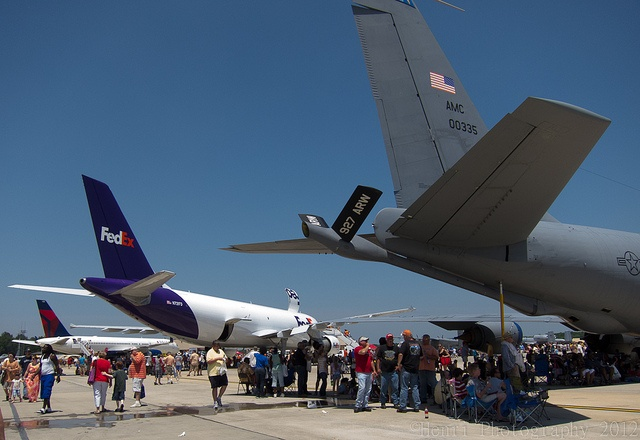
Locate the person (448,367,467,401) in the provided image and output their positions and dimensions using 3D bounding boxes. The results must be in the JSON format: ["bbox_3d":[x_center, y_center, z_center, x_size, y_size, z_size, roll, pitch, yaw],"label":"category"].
[{"bbox_3d":[3.760,4.459,14.448,0.445,0.822,0.438,-1,-14,12],"label":"person"}]

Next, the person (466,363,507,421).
[{"bbox_3d":[4.408,4.492,13.959,0.968,1.358,0.428,-2,-14,14],"label":"person"}]

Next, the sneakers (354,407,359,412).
[{"bbox_3d":[1.071,5.430,15.264,0.180,0.117,0.273,1,-12,3],"label":"sneakers"}]

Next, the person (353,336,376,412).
[{"bbox_3d":[1.308,4.476,15.447,0.608,2.067,0.945,1,-13,4],"label":"person"}]

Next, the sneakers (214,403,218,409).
[{"bbox_3d":[-3.253,5.752,16.461,0.075,0.087,0.193,6,-47,-3],"label":"sneakers"}]

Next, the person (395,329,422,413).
[{"bbox_3d":[2.565,4.353,15.302,0.664,2.239,0.906,-7,-16,31],"label":"person"}]

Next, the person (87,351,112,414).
[{"bbox_3d":[-6.648,4.862,15.949,0.650,1.842,1.021,6,-14,-19],"label":"person"}]

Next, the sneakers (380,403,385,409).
[{"bbox_3d":[1.865,5.461,15.678,0.125,0.152,0.053,0,22,14],"label":"sneakers"}]

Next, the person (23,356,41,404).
[{"bbox_3d":[-10.226,5.588,18.801,0.695,1.523,0.545,-3,-13,-7],"label":"person"}]

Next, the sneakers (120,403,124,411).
[{"bbox_3d":[-6.052,5.715,16.197,0.101,0.276,0.118,2,10,-9],"label":"sneakers"}]

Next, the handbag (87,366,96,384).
[{"bbox_3d":[-6.843,4.649,15.824,0.184,0.444,0.484,10,-8,-21],"label":"handbag"}]

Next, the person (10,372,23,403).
[{"bbox_3d":[-11.311,6.189,19.803,0.394,0.978,0.867,8,-15,-26],"label":"person"}]

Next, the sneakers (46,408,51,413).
[{"bbox_3d":[-8.508,5.913,16.607,0.161,0.125,0.265,5,-13,-16],"label":"sneakers"}]

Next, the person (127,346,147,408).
[{"bbox_3d":[-6.053,5.156,17.434,0.511,1.772,1.019,6,-14,-17],"label":"person"}]

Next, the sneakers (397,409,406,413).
[{"bbox_3d":[2.350,5.422,15.175,0.285,0.089,0.174,2,-12,-6],"label":"sneakers"}]

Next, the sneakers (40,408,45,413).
[{"bbox_3d":[-8.583,5.861,16.423,0.167,0.154,0.106,10,10,26],"label":"sneakers"}]

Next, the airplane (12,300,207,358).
[{"bbox_3d":[-19.410,11.074,51.021,17.692,5.856,16.255,-12,-19,38],"label":"airplane"}]
